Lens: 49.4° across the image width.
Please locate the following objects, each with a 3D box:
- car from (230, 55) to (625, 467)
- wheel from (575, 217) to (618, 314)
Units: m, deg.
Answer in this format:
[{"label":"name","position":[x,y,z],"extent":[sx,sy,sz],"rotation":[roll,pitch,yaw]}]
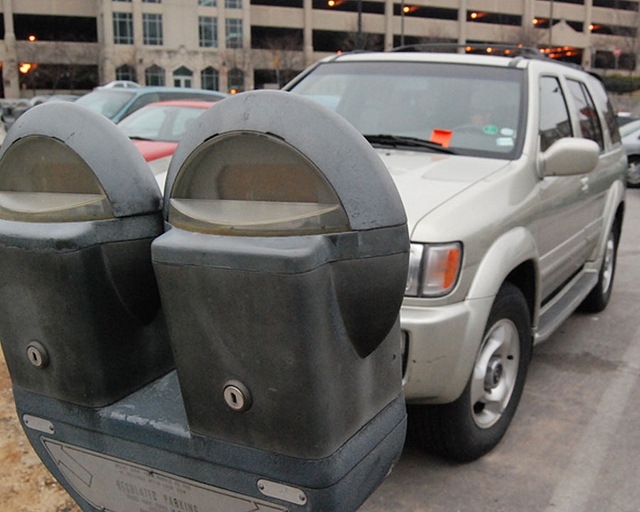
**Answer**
[{"label":"car","position":[0.967,-0.333,4.460],"extent":[1.895,1.873,3.041],"rotation":[12,24,41]},{"label":"wheel","position":[2.233,0.080,5.581],"extent":[0.265,0.775,0.758],"rotation":[6,19,22]}]
